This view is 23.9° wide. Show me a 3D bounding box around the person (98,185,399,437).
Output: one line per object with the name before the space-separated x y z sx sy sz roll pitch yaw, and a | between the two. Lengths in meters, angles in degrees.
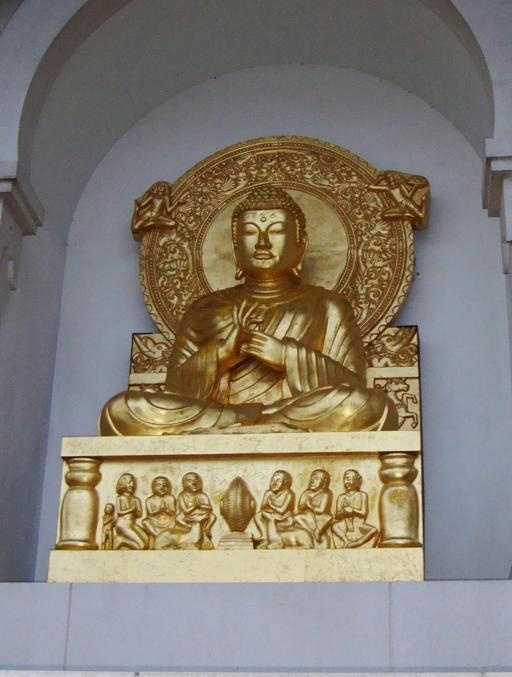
person | 0.033 -0.095 4.220 0.929 1.114 0.820 -5 -22 14
